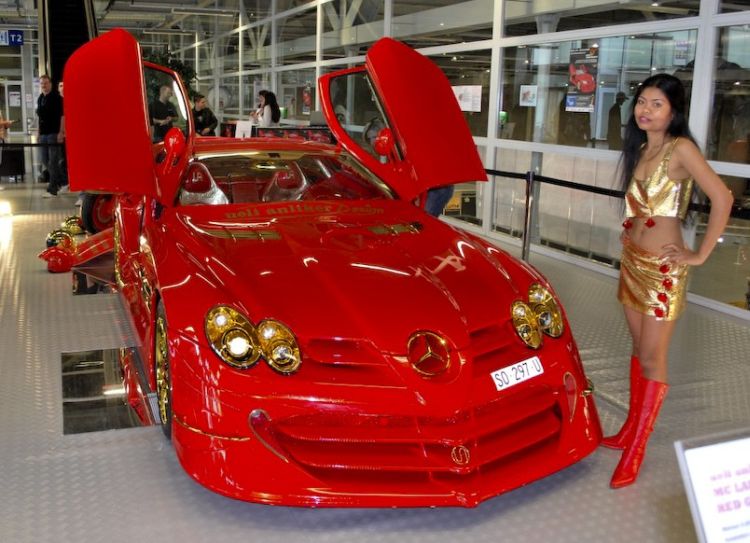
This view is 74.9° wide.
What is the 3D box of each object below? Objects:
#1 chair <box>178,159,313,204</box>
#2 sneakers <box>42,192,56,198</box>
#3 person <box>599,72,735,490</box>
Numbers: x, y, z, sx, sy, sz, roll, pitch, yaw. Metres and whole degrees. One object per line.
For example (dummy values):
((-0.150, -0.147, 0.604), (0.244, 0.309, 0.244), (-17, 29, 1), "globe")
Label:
((-0.849, -0.588, 3.165), (0.609, 0.170, 0.369), (-6, 25, -20), "chair")
((-6.165, -1.452, 9.272), (0.198, 0.104, 0.196), (-7, 17, -15), "sneakers")
((1.338, 0.038, 2.259), (0.440, 1.810, 0.754), (5, 18, 25), "person")
